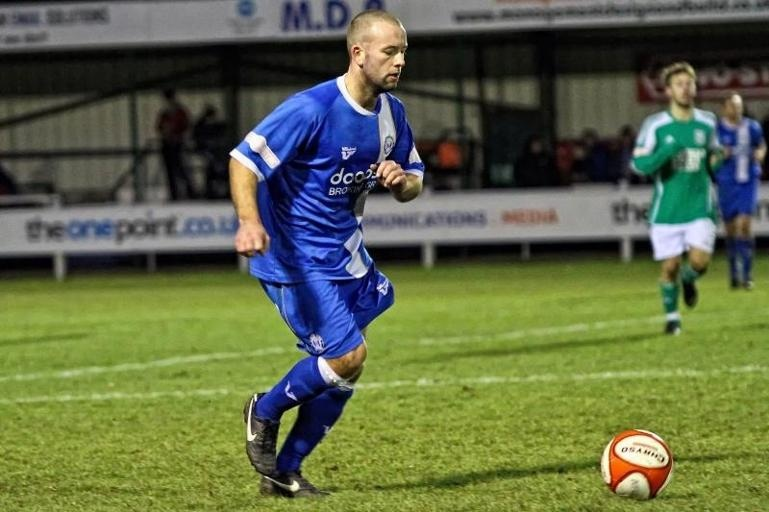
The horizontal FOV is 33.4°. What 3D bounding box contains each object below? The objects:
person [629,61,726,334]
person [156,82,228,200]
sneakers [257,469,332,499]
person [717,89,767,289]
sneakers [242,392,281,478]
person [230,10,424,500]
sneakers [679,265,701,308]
[{"bbox_3d":[1.842,-0.335,7.980,0.536,1.679,0.216,-4,4,12],"label":"person"},{"bbox_3d":[-1.631,-0.976,10.940,0.615,0.986,1.497,-5,4,-7],"label":"person"},{"bbox_3d":[-0.491,1.265,7.130,0.412,0.188,0.142,1,-2,-3],"label":"sneakers"},{"bbox_3d":[2.209,-0.382,7.943,0.300,1.213,0.174,-4,4,10],"label":"person"},{"bbox_3d":[-0.670,0.974,7.077,0.202,0.459,0.151,-23,-15,34],"label":"sneakers"},{"bbox_3d":[-0.301,0.008,6.954,1.048,2.581,0.485,-5,4,-8],"label":"person"},{"bbox_3d":[1.924,0.198,8.077,0.091,0.275,0.117,0,-3,5],"label":"sneakers"}]
